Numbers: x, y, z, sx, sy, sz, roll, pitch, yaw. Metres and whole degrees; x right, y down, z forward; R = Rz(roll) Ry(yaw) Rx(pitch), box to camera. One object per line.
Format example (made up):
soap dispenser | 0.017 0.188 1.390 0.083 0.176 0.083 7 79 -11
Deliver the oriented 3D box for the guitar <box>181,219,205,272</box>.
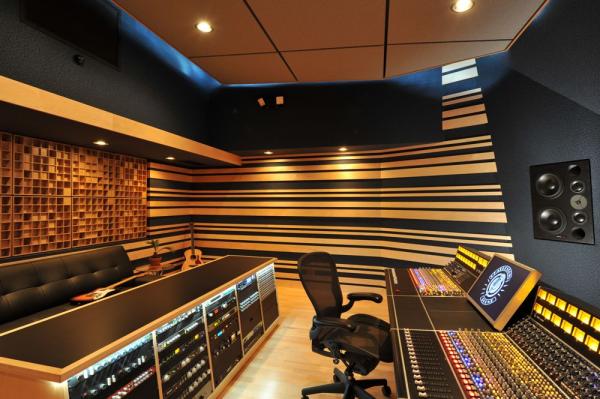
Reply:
guitar | -1.996 0.843 6.853 0.397 0.819 0.674 0 1 -16

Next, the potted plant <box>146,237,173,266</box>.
potted plant | -2.333 0.846 6.085 0.376 0.403 0.422 1 -1 30

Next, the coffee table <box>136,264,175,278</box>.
coffee table | -2.315 1.110 5.790 0.318 0.083 0.334 -2 2 -45

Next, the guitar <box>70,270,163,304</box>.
guitar | -2.466 1.105 5.011 0.328 0.137 1.010 0 2 28
